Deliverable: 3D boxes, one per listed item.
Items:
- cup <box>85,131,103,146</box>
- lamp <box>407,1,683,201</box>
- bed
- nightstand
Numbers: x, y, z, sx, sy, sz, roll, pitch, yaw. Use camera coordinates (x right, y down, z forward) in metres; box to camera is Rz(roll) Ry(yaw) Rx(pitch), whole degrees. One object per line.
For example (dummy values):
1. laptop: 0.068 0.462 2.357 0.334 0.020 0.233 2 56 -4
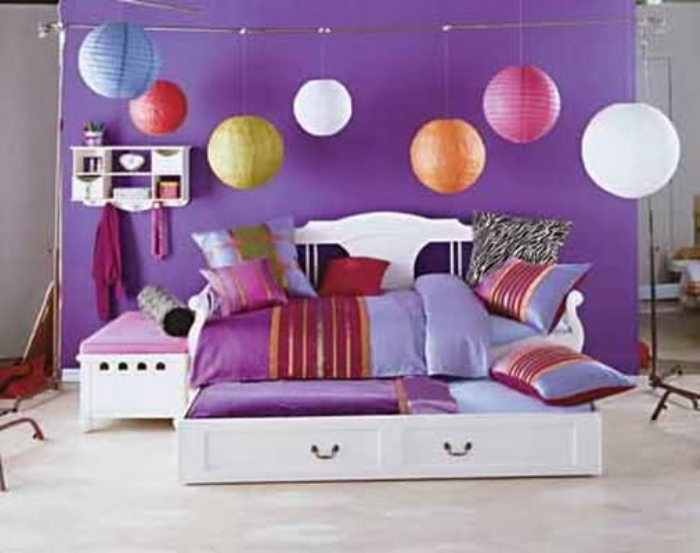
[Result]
1. cup: -1.816 -0.966 5.598 0.101 0.085 0.094 1 4 0
2. lamp: 1.228 -1.032 4.989 1.783 0.739 0.776 4 -19 13
3. bed: 0.379 0.326 4.999 2.717 1.154 1.725 -1 15 -1
4. nightstand: -1.358 0.637 5.004 0.501 0.489 0.933 0 3 -6
